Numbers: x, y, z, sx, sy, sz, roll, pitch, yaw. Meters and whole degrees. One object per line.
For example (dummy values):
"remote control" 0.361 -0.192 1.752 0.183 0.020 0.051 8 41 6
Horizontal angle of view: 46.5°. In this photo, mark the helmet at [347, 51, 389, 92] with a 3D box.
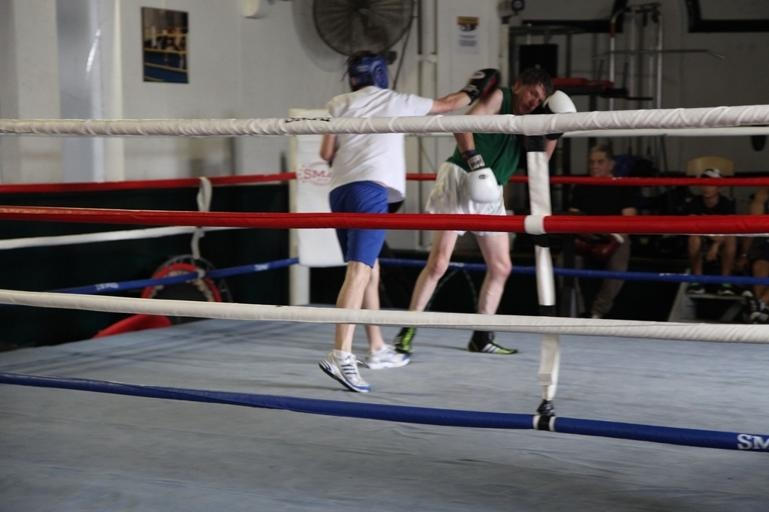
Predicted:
"helmet" -0.057 -0.887 4.313 0.235 0.179 0.171 -8 11 -27

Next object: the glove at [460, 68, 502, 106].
"glove" 0.429 -0.771 4.073 0.104 0.161 0.278 7 9 29

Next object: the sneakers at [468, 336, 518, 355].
"sneakers" 0.559 0.484 4.765 0.293 0.098 0.085 0 -2 3

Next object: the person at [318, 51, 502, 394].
"person" 0.016 -0.174 4.220 0.729 1.586 0.786 1 8 -16

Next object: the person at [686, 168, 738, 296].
"person" 2.212 -0.159 6.047 0.336 0.826 0.504 5 8 16

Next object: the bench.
"bench" 1.320 -0.009 5.891 0.885 0.117 0.056 0 4 12

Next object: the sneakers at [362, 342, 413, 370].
"sneakers" 0.002 0.524 4.569 0.272 0.096 0.101 -1 2 -16

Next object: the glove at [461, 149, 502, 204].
"glove" 0.401 -0.324 3.735 0.144 0.223 0.077 -14 -30 -3

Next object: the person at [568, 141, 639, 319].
"person" 1.510 -0.173 6.284 0.484 1.193 0.813 5 8 14
